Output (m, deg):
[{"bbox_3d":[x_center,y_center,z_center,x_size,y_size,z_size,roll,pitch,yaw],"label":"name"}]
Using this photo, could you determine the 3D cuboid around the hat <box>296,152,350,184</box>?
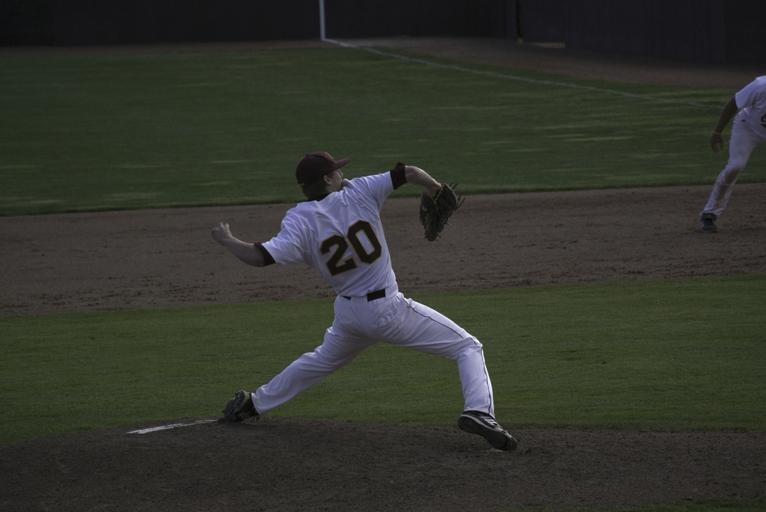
[{"bbox_3d":[-0.927,-1.267,20.023,0.697,0.295,0.422,-27,13,-15],"label":"hat"}]
